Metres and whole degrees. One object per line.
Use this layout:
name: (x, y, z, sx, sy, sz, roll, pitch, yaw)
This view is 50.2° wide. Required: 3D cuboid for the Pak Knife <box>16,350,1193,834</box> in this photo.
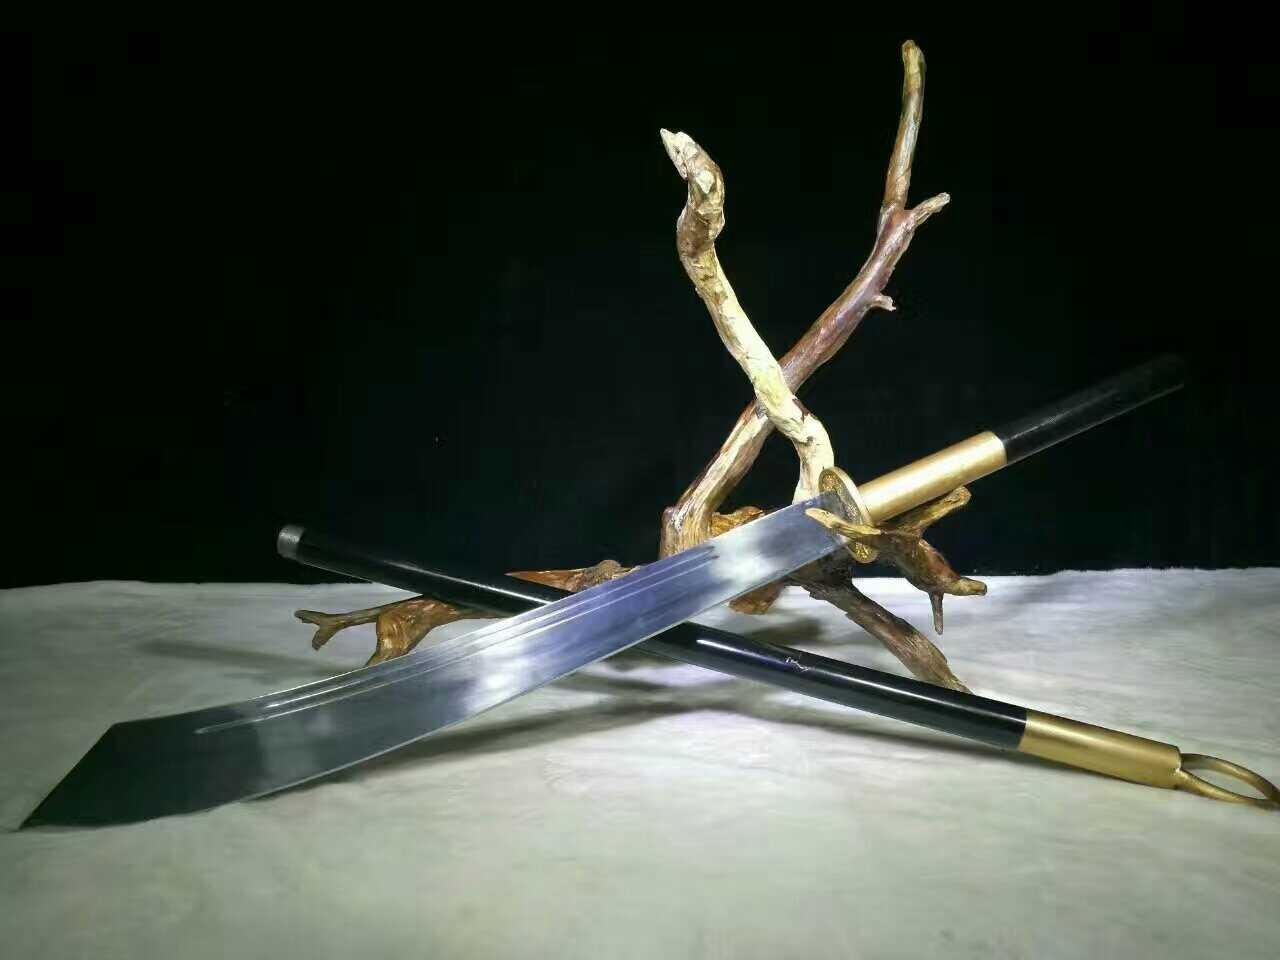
Pak Knife: (-0.149, 0.226, 3.045, 1.704, 0.120, 0.264, -25, 21, 2)
